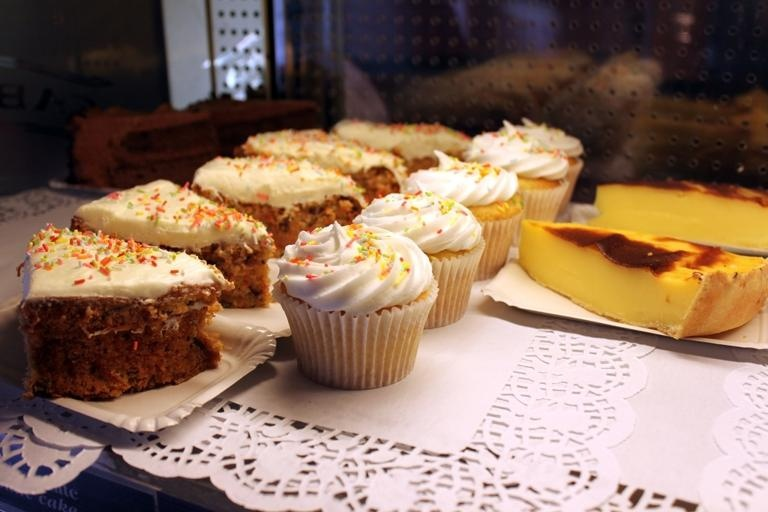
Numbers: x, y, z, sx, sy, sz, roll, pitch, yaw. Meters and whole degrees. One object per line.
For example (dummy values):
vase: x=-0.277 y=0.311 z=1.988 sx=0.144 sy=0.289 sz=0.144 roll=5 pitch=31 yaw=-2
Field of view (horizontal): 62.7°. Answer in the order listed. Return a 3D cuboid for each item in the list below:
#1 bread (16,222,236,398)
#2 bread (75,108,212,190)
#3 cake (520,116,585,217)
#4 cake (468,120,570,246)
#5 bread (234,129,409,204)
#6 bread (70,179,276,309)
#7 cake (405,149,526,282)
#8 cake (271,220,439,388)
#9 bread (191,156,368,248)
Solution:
bread: x=-0.900 y=0.179 z=2.005 sx=0.664 sy=0.387 sz=0.482 roll=13 pitch=24 yaw=16
bread: x=-1.060 y=-0.496 z=2.768 sx=0.484 sy=0.256 sz=0.370 roll=-12 pitch=20 yaw=-33
cake: x=0.781 y=-0.440 z=3.011 sx=0.343 sy=0.318 sz=0.353 roll=11 pitch=8 yaw=34
cake: x=0.635 y=-0.368 z=2.992 sx=0.583 sy=0.483 sz=0.514 roll=-5 pitch=35 yaw=-8
bread: x=-0.266 y=-0.488 z=3.021 sx=0.593 sy=0.197 sz=0.438 roll=19 pitch=26 yaw=30
bread: x=-0.771 y=-0.174 z=2.330 sx=0.616 sy=0.277 sz=0.473 roll=25 pitch=40 yaw=25
cake: x=0.392 y=-0.170 z=2.566 sx=0.546 sy=0.455 sz=0.468 roll=1 pitch=5 yaw=-29
cake: x=-0.099 y=0.148 z=2.173 sx=0.589 sy=0.466 sz=0.574 roll=2 pitch=17 yaw=3
bread: x=-0.440 y=-0.276 z=2.784 sx=0.602 sy=0.202 sz=0.442 roll=-3 pitch=19 yaw=-42
